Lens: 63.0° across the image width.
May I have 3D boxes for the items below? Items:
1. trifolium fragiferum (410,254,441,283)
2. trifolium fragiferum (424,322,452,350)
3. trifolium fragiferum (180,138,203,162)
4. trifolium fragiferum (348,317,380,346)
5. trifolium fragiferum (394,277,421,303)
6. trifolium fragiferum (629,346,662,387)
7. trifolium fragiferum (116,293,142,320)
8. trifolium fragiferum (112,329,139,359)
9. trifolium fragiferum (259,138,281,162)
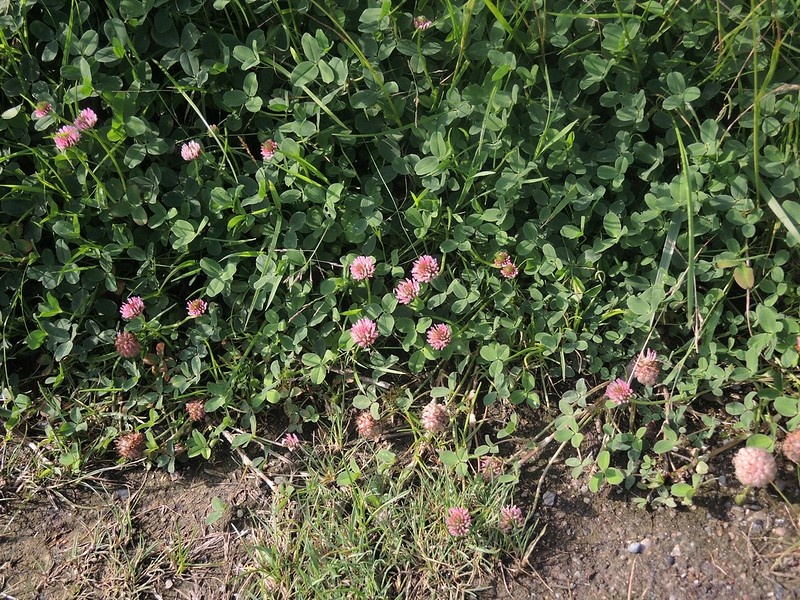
[{"bbox_3d":[0.097,-0.123,2.448,0.092,0.053,0.100,-24,77,11],"label":"trifolium fragiferum"},{"bbox_3d":[0.149,0.134,2.473,0.095,0.091,0.104,19,57,14],"label":"trifolium fragiferum"},{"bbox_3d":[-0.816,-0.588,2.559,0.077,0.067,0.073,-6,54,-4],"label":"trifolium fragiferum"},{"bbox_3d":[-0.140,0.122,2.507,0.089,0.097,0.110,16,83,-15],"label":"trifolium fragiferum"},{"bbox_3d":[0.028,-0.036,2.485,0.078,0.080,0.088,-23,60,3],"label":"trifolium fragiferum"},{"bbox_3d":[0.909,0.248,2.426,0.083,0.102,0.088,31,45,29],"label":"trifolium fragiferum"},{"bbox_3d":[-1.058,0.023,2.572,0.081,0.054,0.097,6,67,13],"label":"trifolium fragiferum"},{"bbox_3d":[-1.070,0.169,2.552,0.095,0.052,0.101,34,73,-17],"label":"trifolium fragiferum"},{"bbox_3d":[-0.511,-0.592,2.571,0.065,0.067,0.149,-12,57,-9],"label":"trifolium fragiferum"}]
